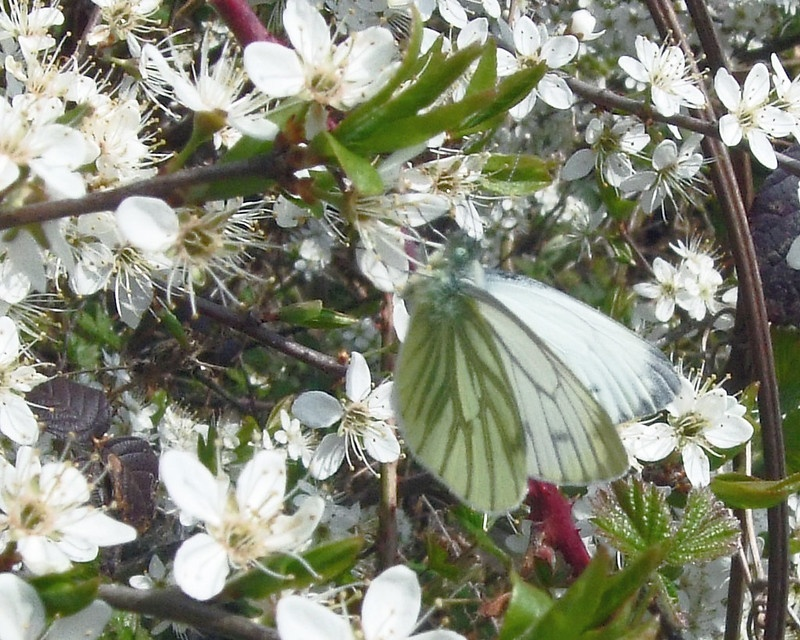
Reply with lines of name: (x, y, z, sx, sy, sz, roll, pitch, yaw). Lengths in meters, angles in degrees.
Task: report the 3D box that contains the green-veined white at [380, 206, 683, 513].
green-veined white: (0.203, 0.108, 1.748, 0.430, 0.263, 0.498, -1, 64, -2)
